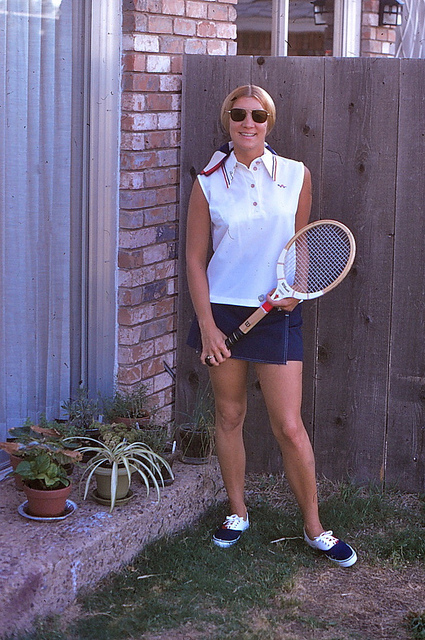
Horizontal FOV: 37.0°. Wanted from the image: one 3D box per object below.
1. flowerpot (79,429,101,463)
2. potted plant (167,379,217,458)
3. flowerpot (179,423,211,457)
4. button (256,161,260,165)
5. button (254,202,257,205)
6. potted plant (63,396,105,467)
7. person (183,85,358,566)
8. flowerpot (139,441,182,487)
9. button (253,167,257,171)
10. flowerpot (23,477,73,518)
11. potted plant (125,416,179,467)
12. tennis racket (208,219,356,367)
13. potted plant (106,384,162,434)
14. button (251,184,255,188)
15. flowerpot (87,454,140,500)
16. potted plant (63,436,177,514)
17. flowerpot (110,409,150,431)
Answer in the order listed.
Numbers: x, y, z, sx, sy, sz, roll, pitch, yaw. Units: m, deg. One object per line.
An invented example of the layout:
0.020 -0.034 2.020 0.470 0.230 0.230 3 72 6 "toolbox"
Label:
-0.509 0.553 2.772 0.100 0.106 0.113 1 -1 7 "flowerpot"
-0.056 0.508 3.102 0.280 0.357 0.365 0 -3 1 "potted plant"
-0.090 0.571 2.971 0.119 0.094 0.128 1 1 -43 "flowerpot"
0.164 -0.572 2.303 0.015 0.011 0.007 -1 8 -36 "button"
0.155 -0.422 2.289 0.009 0.007 0.002 5 6 9 "button"
-0.568 0.527 2.803 0.171 0.317 0.190 8 -18 0 "potted plant"
0.221 0.031 2.407 0.441 1.762 0.582 -1 8 -42 "person"
-0.218 0.617 2.723 0.151 0.126 0.141 10 14 37 "flowerpot"
0.153 -0.549 2.303 0.017 0.013 0.005 -1 8 -40 "button"
-0.558 0.623 2.175 0.143 0.095 0.142 3 6 24 "flowerpot"
-0.276 0.542 2.818 0.221 0.165 0.197 2 4 31 "potted plant"
0.258 -0.111 2.724 0.054 0.373 0.942 23 -32 -25 "tennis racket"
-0.368 0.398 2.935 0.234 0.236 0.193 0 -1 -12 "potted plant"
0.144 -0.487 2.290 0.013 0.012 0.003 -7 0 0 "button"
-0.390 0.599 2.429 0.172 0.151 0.255 3 6 -10 "flowerpot"
-0.359 0.594 2.447 0.322 0.164 0.330 -6 -31 -16 "potted plant"
-0.374 0.457 2.857 0.178 0.052 0.143 3 6 -7 "flowerpot"
